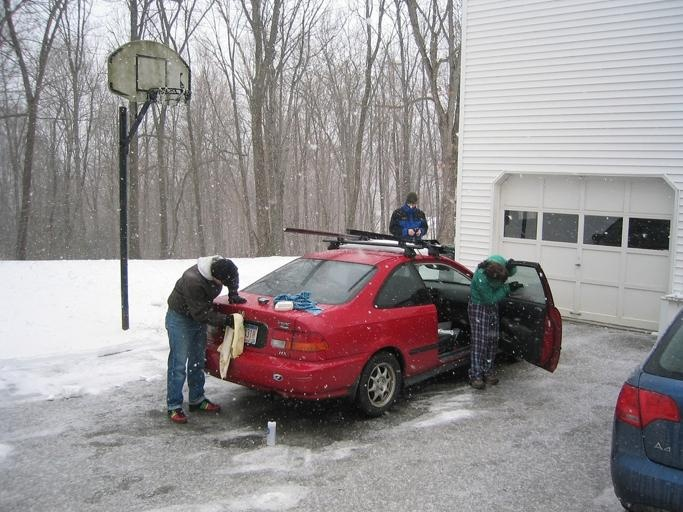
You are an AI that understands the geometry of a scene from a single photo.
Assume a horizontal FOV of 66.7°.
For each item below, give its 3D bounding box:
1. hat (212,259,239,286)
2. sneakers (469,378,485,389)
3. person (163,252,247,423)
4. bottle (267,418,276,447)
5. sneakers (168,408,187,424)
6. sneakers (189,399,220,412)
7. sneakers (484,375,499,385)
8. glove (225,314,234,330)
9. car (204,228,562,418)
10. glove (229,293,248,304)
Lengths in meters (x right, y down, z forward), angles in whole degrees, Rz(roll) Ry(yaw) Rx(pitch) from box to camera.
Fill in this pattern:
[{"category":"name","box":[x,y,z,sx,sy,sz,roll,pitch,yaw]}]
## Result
[{"category":"hat","box":[-1.319,0.191,5.840,0.283,0.309,0.221,0,12,-10]},{"category":"sneakers","box":[1.831,1.724,7.001,0.085,0.108,0.232,-3,-7,-13]},{"category":"person","box":[-1.616,0.937,6.018,0.840,1.865,0.578,-1,12,-15]},{"category":"bottle","box":[-0.749,1.851,5.503,0.101,0.246,0.256,0,12,-9]},{"category":"sneakers","box":[-1.882,1.812,5.956,0.208,0.152,0.283,-3,13,-21]},{"category":"sneakers","box":[-1.622,1.787,6.247,0.368,0.172,0.151,-2,1,-1]},{"category":"sneakers","box":[2.063,1.714,7.156,0.094,0.103,0.231,-2,-6,-35]},{"category":"glove","box":[-1.261,0.738,5.833,0.079,0.147,0.184,-6,14,-35]},{"category":"car","box":[0.431,0.829,6.639,3.264,1.264,2.609,-11,12,-43]},{"category":"glove","box":[-1.201,0.510,6.066,0.120,0.065,0.169,1,-4,45]}]
